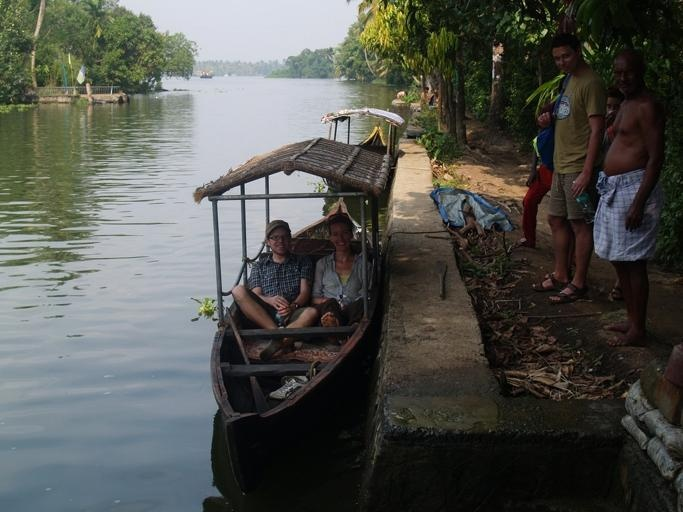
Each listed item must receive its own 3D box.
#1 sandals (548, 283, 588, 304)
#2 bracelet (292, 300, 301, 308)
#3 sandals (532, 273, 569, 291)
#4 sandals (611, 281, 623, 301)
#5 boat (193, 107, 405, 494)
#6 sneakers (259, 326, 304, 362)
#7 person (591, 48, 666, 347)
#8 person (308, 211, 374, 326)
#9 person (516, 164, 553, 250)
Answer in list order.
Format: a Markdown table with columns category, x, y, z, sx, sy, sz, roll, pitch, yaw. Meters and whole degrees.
| category | x | y | z | sx | sy | sz | roll | pitch | yaw |
| --- | --- | --- | --- | --- | --- | --- | --- | --- | --- |
| sandals | 2.452 | 0.406 | 6.687 | 0.383 | 0.142 | 0.191 | -5 | 4 | 5 |
| bracelet | -0.539 | 0.587 | 7.473 | 0.091 | 0.081 | 0.026 | -9 | -12 | -24 |
| sandals | 2.387 | 0.312 | 7.059 | 0.311 | 0.126 | 0.162 | 1 | 12 | 27 |
| sandals | 2.906 | 0.382 | 6.507 | 0.085 | 0.063 | 0.244 | 3 | 50 | 36 |
| boat | -0.514 | -0.256 | 7.849 | 1.905 | 2.011 | 6.137 | 0 | 29 | 6 |
| sneakers | -0.731 | 1.025 | 7.064 | 0.252 | 0.185 | 0.615 | -33 | 3 | -7 |
| person | 2.558 | -0.474 | 5.482 | 0.361 | 2.601 | 0.589 | -8 | 16 | -25 |
| person | -0.043 | 0.301 | 7.222 | 0.734 | 1.369 | 1.971 | -4 | 11 | 4 |
| person | 2.534 | -0.601 | 8.153 | 0.348 | 1.195 | 0.315 | -19 | 40 | -18 |
